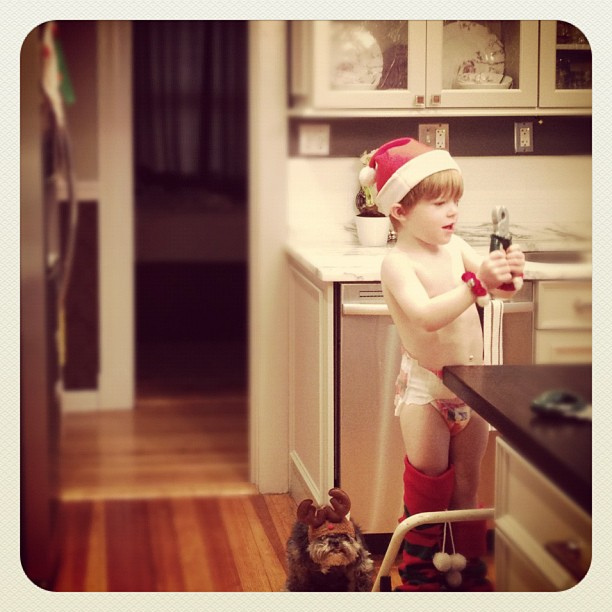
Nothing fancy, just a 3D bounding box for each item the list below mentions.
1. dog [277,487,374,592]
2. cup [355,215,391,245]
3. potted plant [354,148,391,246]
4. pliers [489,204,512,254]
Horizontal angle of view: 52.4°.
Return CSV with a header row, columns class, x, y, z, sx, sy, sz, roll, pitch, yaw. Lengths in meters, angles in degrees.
class,x,y,z,sx,sy,sz,roll,pitch,yaw
dog,0.033,0.386,1.024,0.141,0.202,0.126,-6,10,-4
cup,0.192,-0.221,1.810,0.087,0.068,0.081,0,5,0
potted plant,0.196,-0.314,1.840,0.113,0.277,0.132,16,19,38
pliers,0.330,-0.121,1.040,0.031,0.077,0.008,5,11,44
